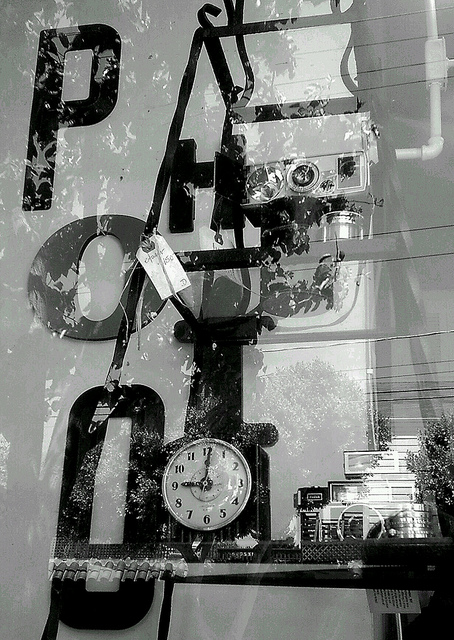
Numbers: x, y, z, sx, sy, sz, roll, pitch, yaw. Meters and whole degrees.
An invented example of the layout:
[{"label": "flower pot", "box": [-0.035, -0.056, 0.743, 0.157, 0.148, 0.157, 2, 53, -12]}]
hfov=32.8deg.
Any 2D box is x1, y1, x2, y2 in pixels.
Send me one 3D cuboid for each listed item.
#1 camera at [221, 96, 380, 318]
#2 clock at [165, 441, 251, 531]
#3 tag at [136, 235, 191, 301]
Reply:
[{"label": "camera", "box": [0.186, -0.246, 1.819, 0.364, 0.195, 0.602, -5, 61, 18]}, {"label": "clock", "box": [-0.036, 0.358, 1.621, 0.145, 0.020, 0.190, 0, 70, 11]}, {"label": "tag", "box": [-0.146, -0.121, 1.690, 0.078, 0.031, 0.164, -30, 70, 19]}]
